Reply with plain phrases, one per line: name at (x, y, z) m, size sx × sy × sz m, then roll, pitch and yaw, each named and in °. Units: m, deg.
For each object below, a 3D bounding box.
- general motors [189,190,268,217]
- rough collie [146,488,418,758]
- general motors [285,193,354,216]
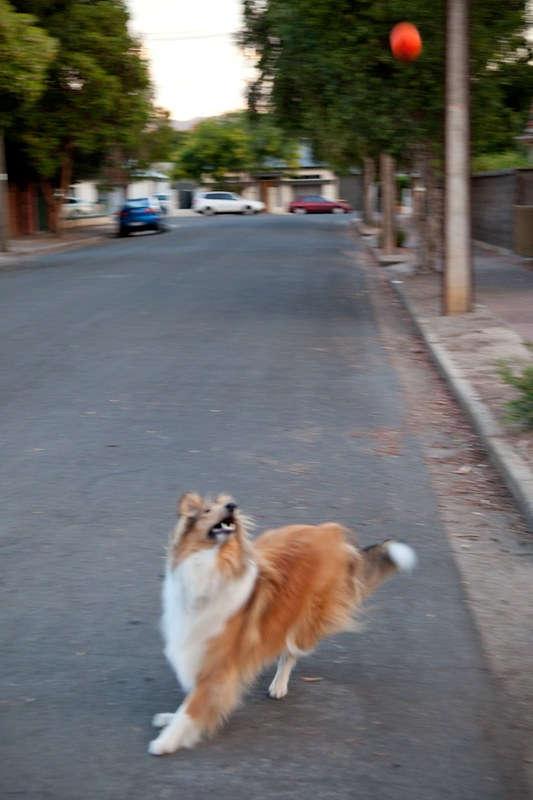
general motors at (-3.336, -17.293, 71.976) m, size 6.023 × 2.080 × 2.638 m, roll -2°, pitch 24°, yaw 1°
rough collie at (0.023, 0.632, 2.629) m, size 1.114 × 0.747 × 0.416 m, roll -9°, pitch 6°, yaw -43°
general motors at (4.600, -16.834, 69.310) m, size 4.962 × 1.578 × 2.173 m, roll -1°, pitch 24°, yaw 3°
